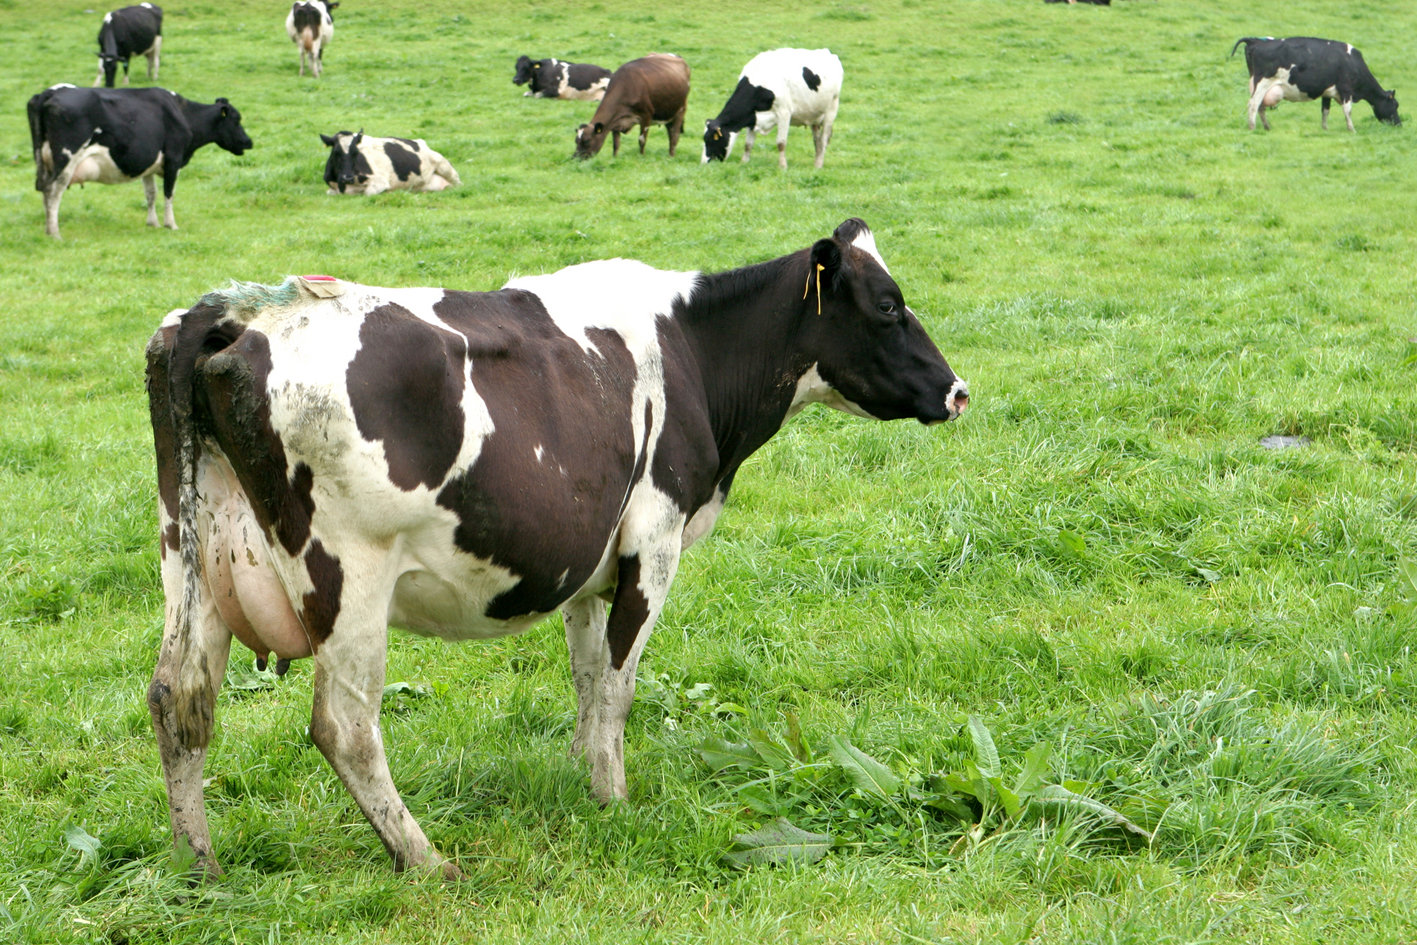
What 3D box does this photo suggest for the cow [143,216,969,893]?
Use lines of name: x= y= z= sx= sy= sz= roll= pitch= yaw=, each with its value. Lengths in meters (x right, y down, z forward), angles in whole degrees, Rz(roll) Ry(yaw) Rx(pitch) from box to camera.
cow: x=-1.112 y=0.894 z=14.110 sx=5.090 sy=3.656 sz=1.490 roll=-5 pitch=7 yaw=-35

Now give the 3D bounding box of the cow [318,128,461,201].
cow: x=-5.435 y=-5.165 z=30.167 sx=0.963 sy=1.150 sz=3.017 roll=-3 pitch=3 yaw=32

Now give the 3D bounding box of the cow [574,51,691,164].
cow: x=-1.381 y=-6.653 z=33.316 sx=1.087 sy=1.895 sz=3.481 roll=15 pitch=25 yaw=31

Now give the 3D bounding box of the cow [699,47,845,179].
cow: x=1.294 y=-6.503 z=31.928 sx=2.058 sy=1.898 sz=2.516 roll=9 pitch=17 yaw=27
